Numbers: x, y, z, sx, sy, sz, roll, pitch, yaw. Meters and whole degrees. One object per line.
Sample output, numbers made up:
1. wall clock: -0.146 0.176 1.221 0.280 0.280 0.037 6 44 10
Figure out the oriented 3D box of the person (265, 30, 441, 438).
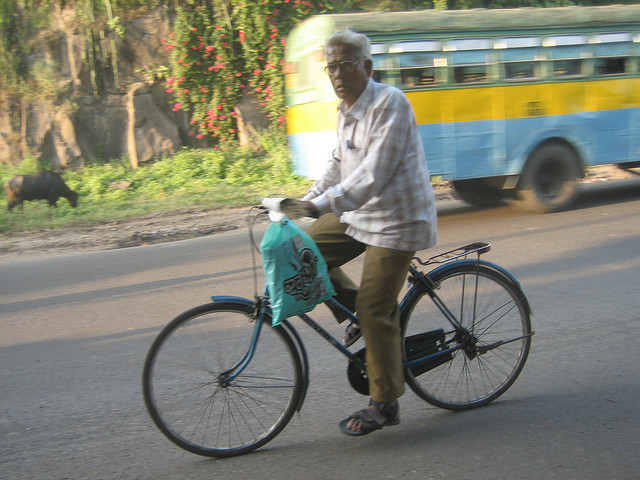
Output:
1. person: 0.339 -0.021 5.366 1.038 3.083 1.064 -5 20 13
